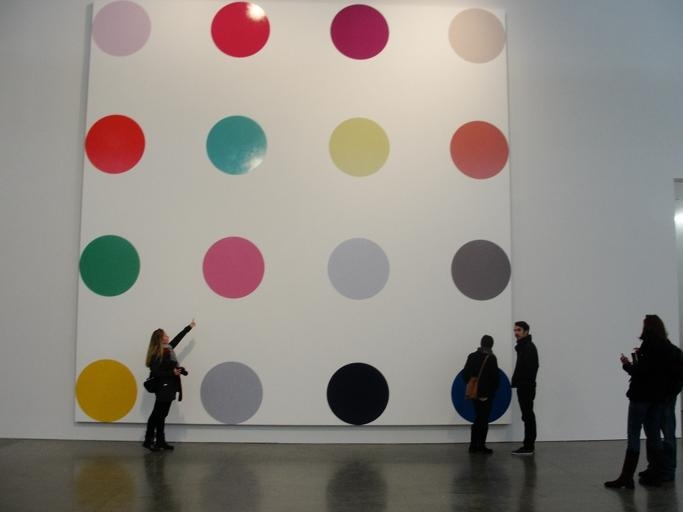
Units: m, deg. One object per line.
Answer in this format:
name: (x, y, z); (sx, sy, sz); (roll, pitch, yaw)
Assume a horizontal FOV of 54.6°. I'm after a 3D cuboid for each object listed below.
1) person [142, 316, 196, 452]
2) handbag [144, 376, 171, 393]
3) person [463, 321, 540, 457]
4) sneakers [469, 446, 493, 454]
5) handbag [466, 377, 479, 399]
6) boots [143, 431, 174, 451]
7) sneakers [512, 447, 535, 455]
person: (-2.570, 1.803, 9.631); (0.605, 1.900, 0.607); (11, -21, -16)
handbag: (-2.646, 1.811, 9.423); (0.268, 0.221, 0.322); (-1, -16, -27)
person: (2.308, 1.981, 9.737); (1.261, 2.667, 0.872); (-1, -7, 16)
sneakers: (1.997, 2.764, 9.511); (0.350, 0.135, 0.158); (3, -23, 12)
handbag: (1.885, 1.884, 9.543); (0.081, 0.263, 0.219); (14, -17, -8)
boots: (-2.622, 2.619, 9.494); (0.490, 0.415, 0.189); (2, -5, -13)
sneakers: (2.583, 2.733, 9.474); (0.316, 0.168, 0.131); (3, -11, 0)
